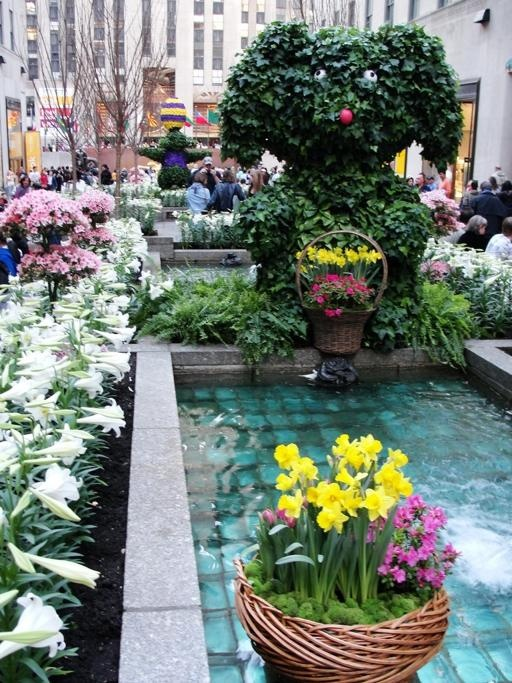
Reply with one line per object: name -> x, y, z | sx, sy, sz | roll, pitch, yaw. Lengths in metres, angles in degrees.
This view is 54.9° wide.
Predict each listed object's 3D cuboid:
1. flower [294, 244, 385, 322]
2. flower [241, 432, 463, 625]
flower -> 1.071, -0.696, 6.028 | 1.080, 0.895, 0.907 | 3, -4, 13
flower -> 0.303, 0.605, 1.697 | 0.756, 0.512, 0.562 | -3, 15, -3
